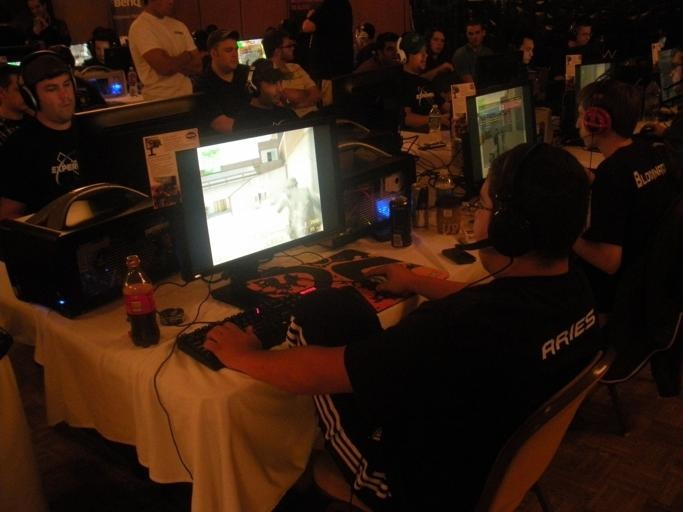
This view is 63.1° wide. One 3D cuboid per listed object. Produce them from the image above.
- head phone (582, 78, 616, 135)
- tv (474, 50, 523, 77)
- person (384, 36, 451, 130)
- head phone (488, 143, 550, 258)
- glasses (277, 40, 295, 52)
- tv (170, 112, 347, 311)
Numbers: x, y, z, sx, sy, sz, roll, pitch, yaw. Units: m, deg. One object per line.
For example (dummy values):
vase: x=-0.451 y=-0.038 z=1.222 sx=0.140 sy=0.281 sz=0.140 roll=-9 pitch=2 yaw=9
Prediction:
head phone: x=1.171 y=-0.678 z=2.536 sx=0.093 sy=0.223 sz=0.232 roll=-1 pitch=14 yaw=31
tv: x=0.990 y=-1.251 z=3.581 sx=0.311 sy=0.212 sz=0.221 roll=-11 pitch=24 yaw=-24
person: x=0.618 y=-1.247 z=4.209 sx=0.464 sy=0.857 sz=0.531 roll=15 pitch=23 yaw=39
head phone: x=0.429 y=-0.129 z=1.336 sx=0.096 sy=0.224 sz=0.251 roll=4 pitch=12 yaw=23
glasses: x=-0.539 y=-1.985 z=5.216 sx=0.179 sy=0.055 sz=0.178 roll=2 pitch=16 yaw=21
tv: x=-0.304 y=-0.142 z=1.973 sx=0.664 sy=0.735 sz=0.305 roll=-5 pitch=17 yaw=-30
